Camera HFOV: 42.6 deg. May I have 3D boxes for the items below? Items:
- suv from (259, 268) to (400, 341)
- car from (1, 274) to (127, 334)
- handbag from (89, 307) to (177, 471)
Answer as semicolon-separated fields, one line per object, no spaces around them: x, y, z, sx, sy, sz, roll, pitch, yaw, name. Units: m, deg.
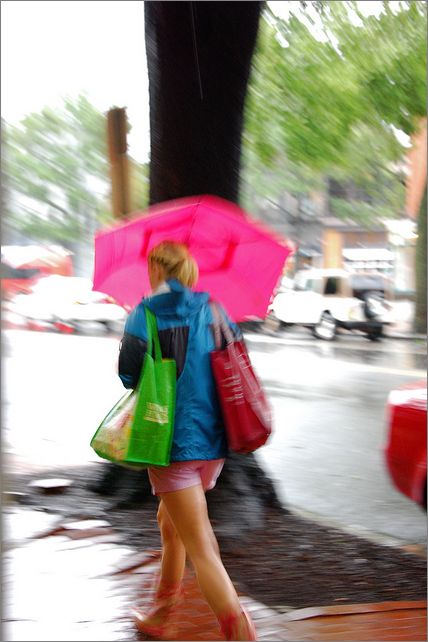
4.445;-0.580;19.607;4.917;2.140;2.821;7;4;34;suv
-5.451;-0.536;20.756;5.432;1.446;3.211;4;-2;25;car
-0.236;0.205;1.777;0.301;0.510;0.133;6;-1;43;handbag
